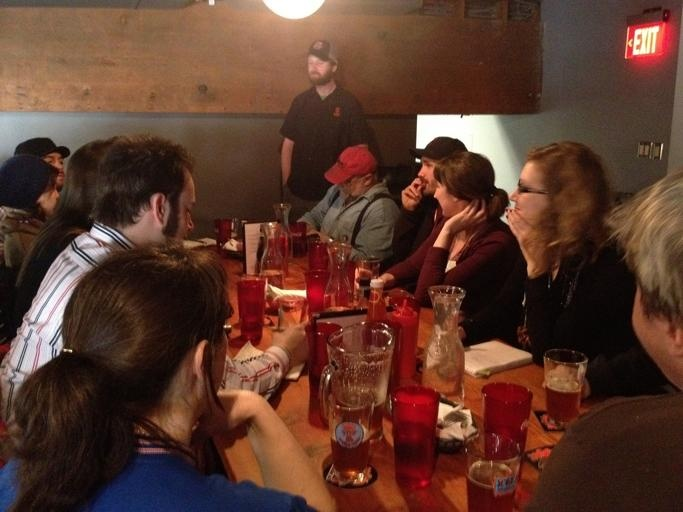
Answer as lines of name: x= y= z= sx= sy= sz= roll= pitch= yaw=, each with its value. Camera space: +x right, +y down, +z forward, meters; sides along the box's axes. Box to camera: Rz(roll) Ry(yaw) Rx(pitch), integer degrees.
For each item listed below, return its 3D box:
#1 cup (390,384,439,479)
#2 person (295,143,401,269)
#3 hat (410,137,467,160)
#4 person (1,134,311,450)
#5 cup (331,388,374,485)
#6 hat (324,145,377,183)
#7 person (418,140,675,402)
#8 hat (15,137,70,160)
cup: x=0.169 y=0.393 z=1.202 sx=0.102 sy=0.211 sz=0.152 roll=-3 pitch=7 yaw=7
person: x=0.006 y=-0.353 z=3.725 sx=0.520 sy=0.697 sz=0.875 roll=-1 pitch=20 yaw=-23
hat: x=0.633 y=-0.699 z=3.522 sx=0.402 sy=0.171 sz=0.279 roll=0 pitch=9 yaw=0
person: x=-0.537 y=0.039 z=1.827 sx=1.068 sy=0.937 sz=0.810 roll=-7 pitch=15 yaw=-36
cup: x=0.025 y=0.399 z=1.185 sx=0.090 sy=0.204 sz=0.094 roll=-3 pitch=8 yaw=0
hat: x=0.082 y=-0.618 z=3.822 sx=0.354 sy=0.189 sz=0.234 roll=-16 pitch=49 yaw=-7
person: x=0.711 y=0.027 z=1.954 sx=0.822 sy=0.933 sz=0.830 roll=4 pitch=9 yaw=7
hat: x=-2.284 y=-0.812 z=4.075 sx=0.341 sy=0.136 sz=0.241 roll=-3 pitch=6 yaw=-6
